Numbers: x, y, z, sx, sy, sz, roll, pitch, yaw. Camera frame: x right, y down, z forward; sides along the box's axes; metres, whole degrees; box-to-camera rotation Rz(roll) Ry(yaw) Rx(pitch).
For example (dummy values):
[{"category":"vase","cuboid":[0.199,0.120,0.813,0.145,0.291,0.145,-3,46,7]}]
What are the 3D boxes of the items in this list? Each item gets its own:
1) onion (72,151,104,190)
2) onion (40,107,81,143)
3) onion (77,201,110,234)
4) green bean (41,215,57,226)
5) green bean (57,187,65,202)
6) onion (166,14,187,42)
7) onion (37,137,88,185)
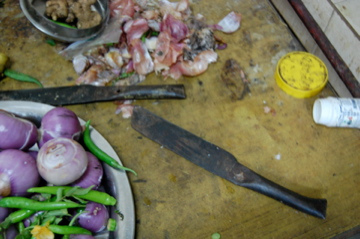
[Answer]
[{"category":"onion","cuboid":[-0.304,0.180,1.311,0.096,0.118,0.056,-23,-19,21]},{"category":"onion","cuboid":[-0.400,0.017,1.350,0.097,0.127,0.111,11,1,2]},{"category":"onion","cuboid":[-0.281,0.315,1.285,0.068,0.106,0.088,-16,27,-39]},{"category":"green bean","cuboid":[-0.408,0.314,1.230,0.038,0.026,0.008,-34,-11,-8]},{"category":"green bean","cuboid":[-0.376,0.235,1.236,0.010,0.040,0.009,21,-27,-30]},{"category":"onion","cuboid":[-0.014,-0.371,1.610,0.078,0.100,0.057,-16,28,-28]},{"category":"onion","cuboid":[-0.376,0.130,1.259,0.156,0.130,0.043,-17,-1,-20]}]
